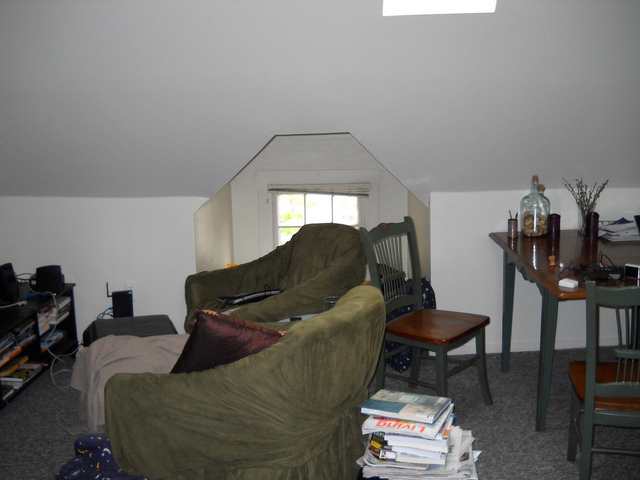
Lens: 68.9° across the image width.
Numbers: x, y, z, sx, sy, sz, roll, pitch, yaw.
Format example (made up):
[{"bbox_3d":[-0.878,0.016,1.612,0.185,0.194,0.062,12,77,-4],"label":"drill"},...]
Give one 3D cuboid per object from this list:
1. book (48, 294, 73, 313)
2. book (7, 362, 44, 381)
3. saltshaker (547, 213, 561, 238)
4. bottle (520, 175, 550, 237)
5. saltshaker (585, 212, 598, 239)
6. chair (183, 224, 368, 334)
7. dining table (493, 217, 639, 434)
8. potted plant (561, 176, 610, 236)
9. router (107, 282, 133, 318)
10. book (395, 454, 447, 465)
[{"bbox_3d":[-1.932,0.465,3.446,0.069,0.033,0.139,5,21,13],"label":"book"},{"bbox_3d":[-1.980,0.870,3.092,0.160,0.043,0.169,-1,4,-23],"label":"book"},{"bbox_3d":[1.523,-0.089,3.024,0.067,0.149,0.045,-2,2,23],"label":"saltshaker"},{"bbox_3d":[1.466,-0.229,3.132,0.197,0.417,0.202,-3,5,0],"label":"bottle"},{"bbox_3d":[1.759,-0.092,3.004,0.076,0.171,0.055,-2,2,37],"label":"saltshaker"},{"bbox_3d":[-0.260,0.259,3.169,0.896,0.676,0.892,-3,7,-29],"label":"chair"},{"bbox_3d":[1.378,0.454,2.616,0.880,0.741,0.734,-6,17,-5],"label":"dining table"},{"bbox_3d":[1.782,-0.209,3.110,0.248,0.347,0.224,2,1,-4],"label":"potted plant"},{"bbox_3d":[-1.517,0.416,3.508,0.175,0.433,0.093,2,39,-19],"label":"router"},{"bbox_3d":[0.386,0.843,1.784,0.192,0.038,0.034,-3,1,8],"label":"book"}]
